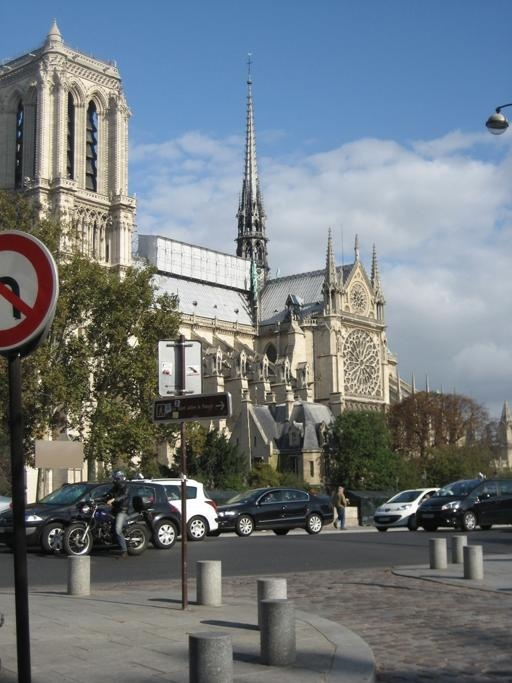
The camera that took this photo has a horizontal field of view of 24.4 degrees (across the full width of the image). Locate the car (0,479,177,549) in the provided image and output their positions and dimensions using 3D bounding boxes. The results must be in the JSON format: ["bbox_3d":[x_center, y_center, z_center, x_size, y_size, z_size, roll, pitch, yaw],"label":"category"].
[{"bbox_3d":[-2.900,3.215,21.651,3.186,1.406,1.583,9,-19,-33],"label":"car"}]

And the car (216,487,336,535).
[{"bbox_3d":[0.439,4.163,28.556,2.696,0.951,1.146,9,-20,-27],"label":"car"}]

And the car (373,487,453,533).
[{"bbox_3d":[4.143,4.373,31.280,1.049,0.900,1.806,-14,-23,40],"label":"car"}]

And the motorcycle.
[{"bbox_3d":[-2.551,3.213,20.003,1.379,0.903,0.752,11,-22,-30],"label":"motorcycle"}]

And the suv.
[{"bbox_3d":[-1.294,3.335,24.034,2.138,1.169,1.201,8,-15,-27],"label":"suv"}]

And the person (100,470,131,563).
[{"bbox_3d":[-2.290,2.852,19.518,0.395,1.404,1.025,2,-6,-6],"label":"person"}]
